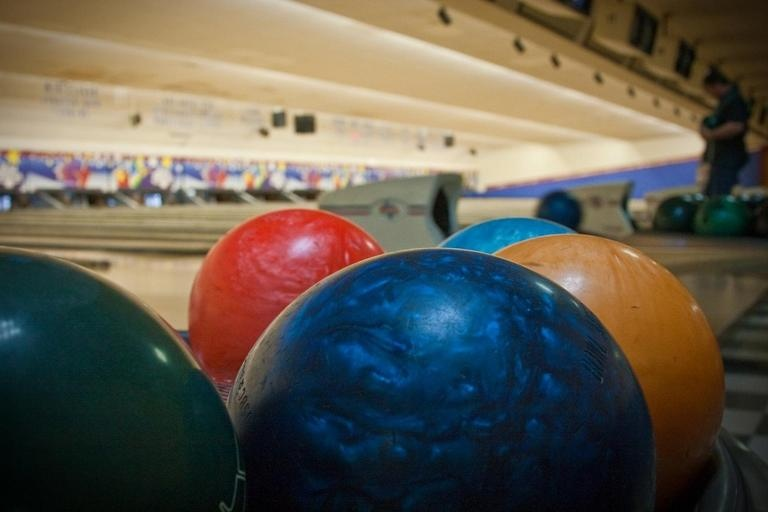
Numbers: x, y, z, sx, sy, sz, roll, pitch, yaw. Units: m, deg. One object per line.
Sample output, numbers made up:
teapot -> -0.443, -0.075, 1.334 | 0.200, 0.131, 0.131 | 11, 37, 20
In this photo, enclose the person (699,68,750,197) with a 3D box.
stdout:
person -> 3.902, -1.383, 6.602 | 0.455, 1.225, 1.413 | 3, 8, 31
